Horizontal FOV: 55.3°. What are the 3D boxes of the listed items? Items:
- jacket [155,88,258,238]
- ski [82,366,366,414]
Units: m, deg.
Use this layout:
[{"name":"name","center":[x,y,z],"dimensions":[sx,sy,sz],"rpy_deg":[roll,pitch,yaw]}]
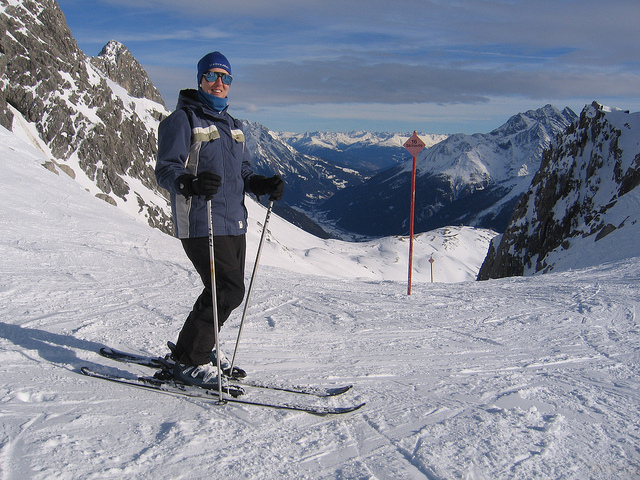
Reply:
[{"name":"jacket","center":[-1.556,-1.031,8.391],"dimensions":[1.367,2.005,0.850],"rpy_deg":[-2,13,-19]},{"name":"ski","center":[-1.431,2.081,8.342],"dimensions":[2.615,0.208,0.282],"rpy_deg":[7,5,3]}]
